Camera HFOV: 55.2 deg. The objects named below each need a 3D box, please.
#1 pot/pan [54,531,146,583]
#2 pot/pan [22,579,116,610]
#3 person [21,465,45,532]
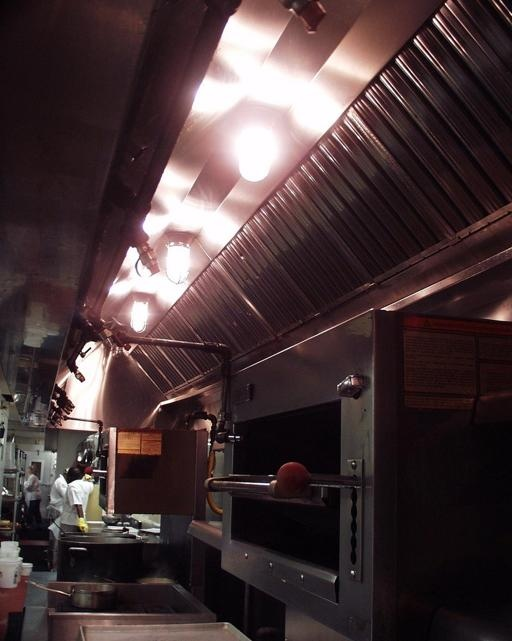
[{"bbox_3d":[-0.930,1.307,2.716,0.417,0.177,0.455,-12,-19,32],"label":"pot/pan"},{"bbox_3d":[-0.858,1.296,2.303,0.325,0.115,0.186,-1,-24,-2],"label":"pot/pan"},{"bbox_3d":[-3.832,2.974,8.311,0.285,1.071,0.420,0,-12,-25],"label":"person"}]
